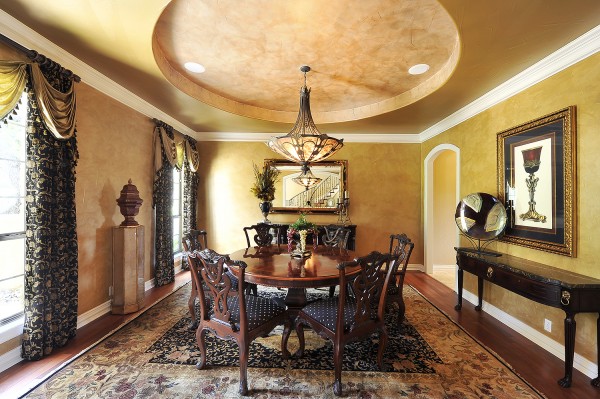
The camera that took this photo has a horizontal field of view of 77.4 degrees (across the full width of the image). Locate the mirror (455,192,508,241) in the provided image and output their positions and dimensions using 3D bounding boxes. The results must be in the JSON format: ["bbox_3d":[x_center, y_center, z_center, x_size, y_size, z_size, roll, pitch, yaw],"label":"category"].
[{"bbox_3d":[2.693,0.300,5.735,0.139,0.725,0.747,1,-26,-35],"label":"mirror"}]

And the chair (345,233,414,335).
[{"bbox_3d":[1.115,1.133,5.474,0.889,1.325,0.885,2,6,2],"label":"chair"}]

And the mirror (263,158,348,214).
[{"bbox_3d":[0.170,-0.298,7.672,1.229,0.805,0.050,0,-4,-1],"label":"mirror"}]

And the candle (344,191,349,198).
[{"bbox_3d":[0.991,-0.130,7.892,0.099,0.194,0.259,0,-1,7],"label":"candle"}]

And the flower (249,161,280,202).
[{"bbox_3d":[-0.658,-0.334,7.507,0.583,0.566,0.463,-4,-8,33],"label":"flower"}]

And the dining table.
[{"bbox_3d":[-0.040,1.239,5.148,1.397,0.500,1.418,0,-6,11],"label":"dining table"}]

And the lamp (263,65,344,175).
[{"bbox_3d":[0.034,-1.235,5.468,0.864,1.598,0.987,0,-1,-37],"label":"lamp"}]

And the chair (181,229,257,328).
[{"bbox_3d":[-1.029,1.096,5.398,0.925,1.336,0.899,10,26,1],"label":"chair"}]

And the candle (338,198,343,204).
[{"bbox_3d":[0.861,0.012,7.887,0.132,0.122,0.097,-1,-6,21],"label":"candle"}]

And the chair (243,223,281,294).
[{"bbox_3d":[-0.695,0.928,6.953,0.759,1.168,0.792,-1,7,6],"label":"chair"}]

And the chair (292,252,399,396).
[{"bbox_3d":[0.545,1.439,4.540,1.202,1.673,0.643,0,0,15],"label":"chair"}]
